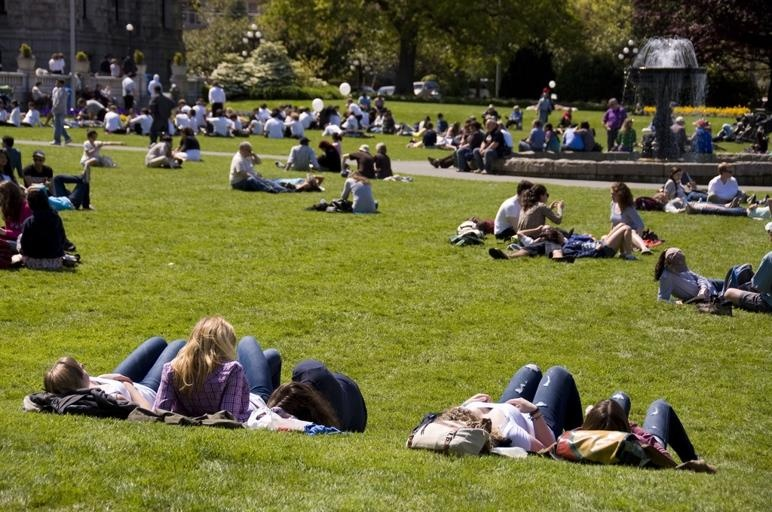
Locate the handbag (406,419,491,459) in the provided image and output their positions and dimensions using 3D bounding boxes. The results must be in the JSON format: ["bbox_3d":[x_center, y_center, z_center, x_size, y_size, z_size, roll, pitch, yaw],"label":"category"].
[{"bbox_3d":[1.583,4.624,38.063,1.460,0.612,0.961,3,3,20],"label":"handbag"}]

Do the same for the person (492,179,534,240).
[{"bbox_3d":[3.796,-1.345,46.226,0.870,2.015,1.456,0,1,12],"label":"person"}]

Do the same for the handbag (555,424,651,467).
[{"bbox_3d":[5.424,4.840,38.096,2.275,0.845,0.243,4,6,3],"label":"handbag"}]

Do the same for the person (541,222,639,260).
[{"bbox_3d":[6.199,-0.487,45.154,2.324,1.123,1.073,-3,-1,17],"label":"person"}]

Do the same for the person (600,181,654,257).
[{"bbox_3d":[7.358,-1.132,45.546,1.067,2.263,1.164,1,2,28],"label":"person"}]
